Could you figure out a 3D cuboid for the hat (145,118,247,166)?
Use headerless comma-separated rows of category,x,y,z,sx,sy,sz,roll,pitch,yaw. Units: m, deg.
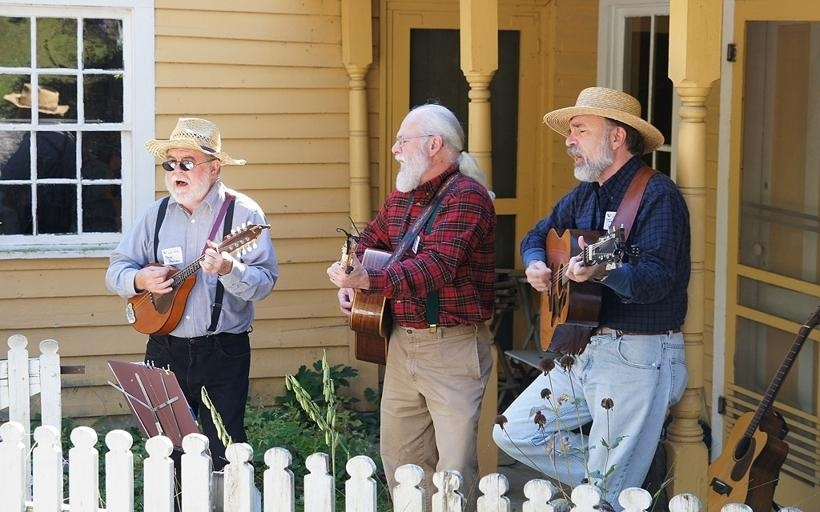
hat,-1.637,-0.897,9.816,0.758,0.282,0.735,13,11,37

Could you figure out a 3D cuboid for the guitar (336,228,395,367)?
guitar,-0.307,0.257,9.500,0.327,0.515,1.105,11,-21,3

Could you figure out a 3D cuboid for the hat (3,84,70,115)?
hat,-3.221,-1.346,11.490,0.332,0.109,0.308,18,16,-6

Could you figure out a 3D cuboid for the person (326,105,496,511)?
person,0.158,0.330,9.227,0.856,2.759,0.727,2,5,3

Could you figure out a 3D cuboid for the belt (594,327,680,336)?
belt,1.543,0.515,8.901,0.555,0.052,0.067,2,5,3

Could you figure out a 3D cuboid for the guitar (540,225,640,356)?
guitar,1.166,0.228,8.934,0.373,0.902,0.931,-1,6,-25

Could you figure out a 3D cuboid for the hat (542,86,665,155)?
hat,1.362,-0.969,9.239,0.807,0.265,0.903,15,-13,0
